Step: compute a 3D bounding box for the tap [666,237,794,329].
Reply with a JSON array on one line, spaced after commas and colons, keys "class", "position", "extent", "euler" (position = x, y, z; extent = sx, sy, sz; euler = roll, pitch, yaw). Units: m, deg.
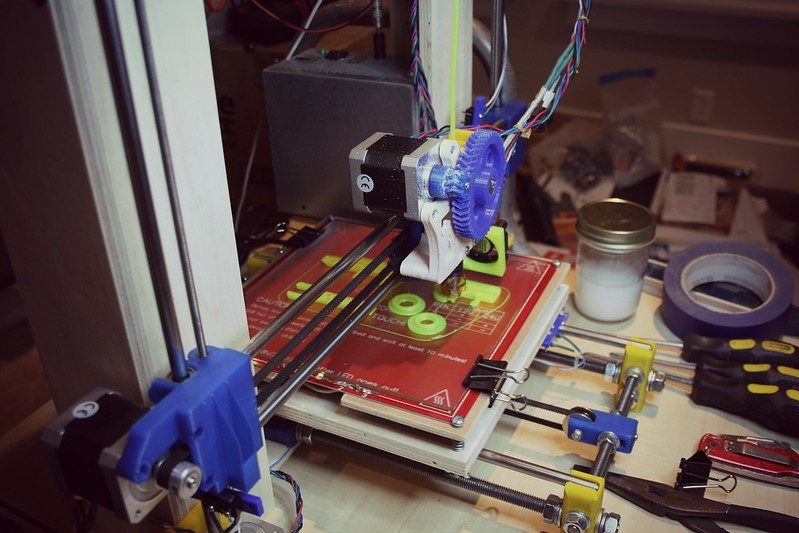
[{"class": "tap", "position": [0.942, 0.080, 1.880], "extent": [0.330, 0.180, 0.295], "euler": [14, 38, 19]}]

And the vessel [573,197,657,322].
[{"class": "vessel", "position": [0.630, -0.009, 1.922], "extent": [0.208, 0.330, 0.216], "euler": [9, 35, 21]}]

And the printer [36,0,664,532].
[{"class": "printer", "position": [-0.128, 0.021, 1.513], "extent": [0.528, 1.051, 1.076], "euler": [15, 37, 23]}]
